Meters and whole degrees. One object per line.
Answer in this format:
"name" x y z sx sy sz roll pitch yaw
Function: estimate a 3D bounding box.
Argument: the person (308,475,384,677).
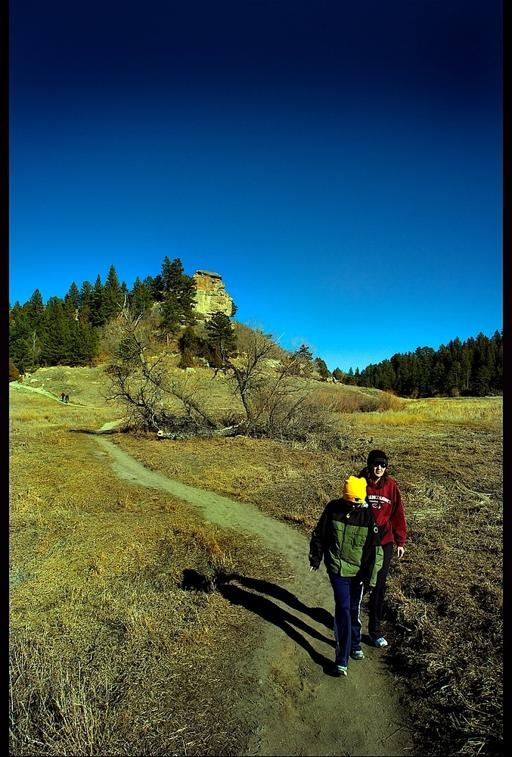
"person" 0.826 1.927 4.591 0.741 2.115 0.452 0 3 -27

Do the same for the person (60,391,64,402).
"person" -11.091 1.013 27.585 0.194 0.848 0.349 -4 8 -24

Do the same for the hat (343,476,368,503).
"hat" 0.909 0.988 4.458 0.173 0.235 0.263 4 6 7

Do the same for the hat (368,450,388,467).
"hat" 1.193 0.785 4.748 0.129 0.147 0.208 6 -16 5
